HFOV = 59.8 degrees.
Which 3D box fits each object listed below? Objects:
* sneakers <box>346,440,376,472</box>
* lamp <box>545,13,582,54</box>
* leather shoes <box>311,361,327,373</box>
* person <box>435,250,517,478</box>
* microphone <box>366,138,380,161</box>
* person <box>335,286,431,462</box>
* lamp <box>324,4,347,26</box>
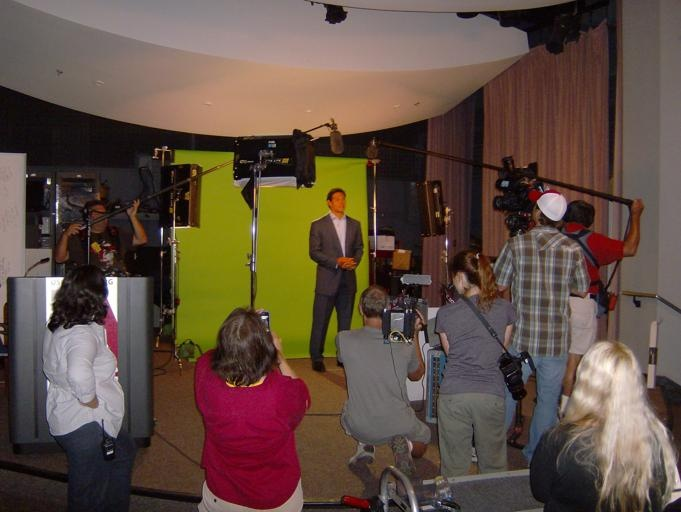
[{"bbox_3d":[0.173,1.599,4.723,0.116,0.238,0.306,21,-38,-20],"label":"sneakers"},{"bbox_3d":[2.435,-2.427,6.499,0.217,0.119,0.341,7,-8,-4],"label":"lamp"},{"bbox_3d":[-0.255,1.306,7.099,0.160,0.118,0.252,0,4,-2],"label":"leather shoes"},{"bbox_3d":[0.942,0.755,4.200,0.531,1.564,0.368,1,3,17],"label":"person"},{"bbox_3d":[0.346,-1.111,6.280,0.180,0.278,0.064,-2,7,-4],"label":"microphone"},{"bbox_3d":[0.324,0.908,4.511,0.701,1.350,0.354,0,3,9],"label":"person"},{"bbox_3d":[-0.052,-2.798,6.885,0.267,0.231,0.263,0,4,-1],"label":"lamp"}]
